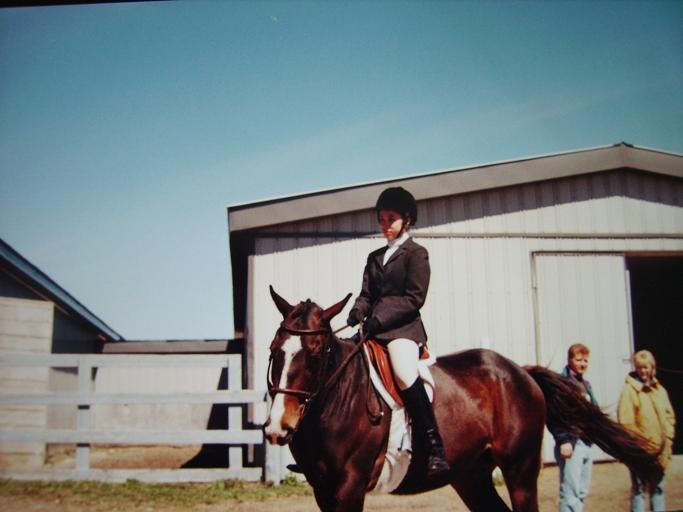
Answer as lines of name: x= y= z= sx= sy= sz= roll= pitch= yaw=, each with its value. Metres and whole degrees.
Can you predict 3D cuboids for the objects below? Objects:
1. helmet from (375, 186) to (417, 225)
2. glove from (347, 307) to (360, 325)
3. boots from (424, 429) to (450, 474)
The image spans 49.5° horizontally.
helmet: x=0.679 y=-0.618 z=8.881 sx=0.332 sy=0.476 sz=0.493 roll=-4 pitch=-4 yaw=6
glove: x=0.146 y=0.683 z=8.464 sx=0.121 sy=0.191 sz=0.074 roll=11 pitch=-8 yaw=-38
boots: x=1.082 y=2.225 z=8.319 sx=0.245 sy=0.491 sz=0.414 roll=-3 pitch=-14 yaw=8
